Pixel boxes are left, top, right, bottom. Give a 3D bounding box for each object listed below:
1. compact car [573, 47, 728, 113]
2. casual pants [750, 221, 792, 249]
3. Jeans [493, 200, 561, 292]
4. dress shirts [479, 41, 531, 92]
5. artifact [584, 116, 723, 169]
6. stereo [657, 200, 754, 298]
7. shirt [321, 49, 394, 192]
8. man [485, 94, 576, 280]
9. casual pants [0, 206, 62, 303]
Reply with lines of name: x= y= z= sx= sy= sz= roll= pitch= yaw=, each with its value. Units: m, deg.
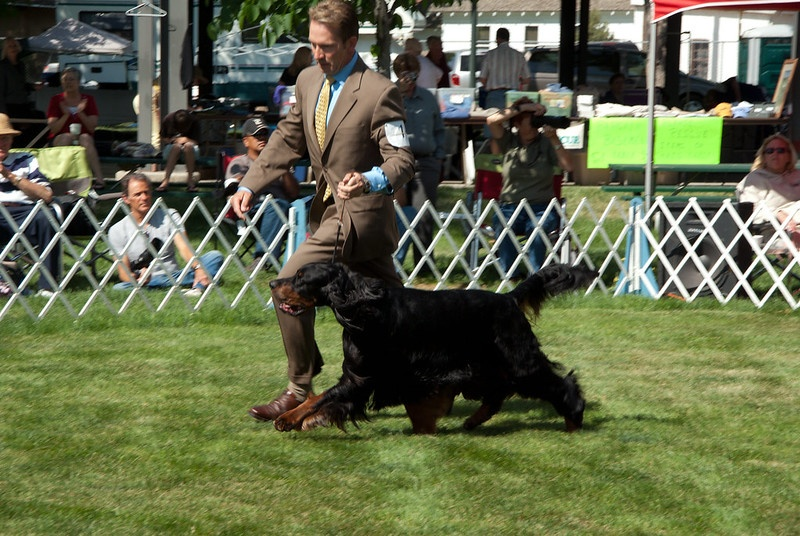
compact car: x=5.488 y=-3.907 z=19.861 sx=3.681 sy=1.573 sz=1.826 roll=-1 pitch=4 yaw=-1
casual pants: x=3.689 y=-0.362 z=9.958 sx=0.451 sy=0.211 sz=0.249 roll=-12 pitch=20 yaw=-8
Jeans: x=1.337 y=-0.293 z=10.486 sx=0.843 sy=0.929 sz=0.769 roll=1 pitch=5 yaw=3
dress shirts: x=1.647 y=-2.970 z=14.872 sx=0.861 sy=0.625 sz=0.496 roll=4 pitch=17 yaw=25
artifact: x=2.591 y=-1.314 z=10.405 sx=1.109 sy=0.585 sz=0.238 roll=-2 pitch=5 yaw=6
stereo: x=3.054 y=-0.184 z=9.936 sx=0.931 sy=0.965 sz=0.369 roll=5 pitch=12 yaw=12
shirt: x=-0.300 y=-0.917 z=6.542 sx=0.261 sy=0.944 sz=0.591 roll=-6 pitch=14 yaw=-37
man: x=1.334 y=-0.811 z=10.458 sx=0.877 sy=1.919 sz=0.693 roll=4 pitch=11 yaw=6
casual pants: x=-3.517 y=-0.178 z=9.612 sx=0.770 sy=0.828 sz=0.378 roll=12 pitch=14 yaw=40
